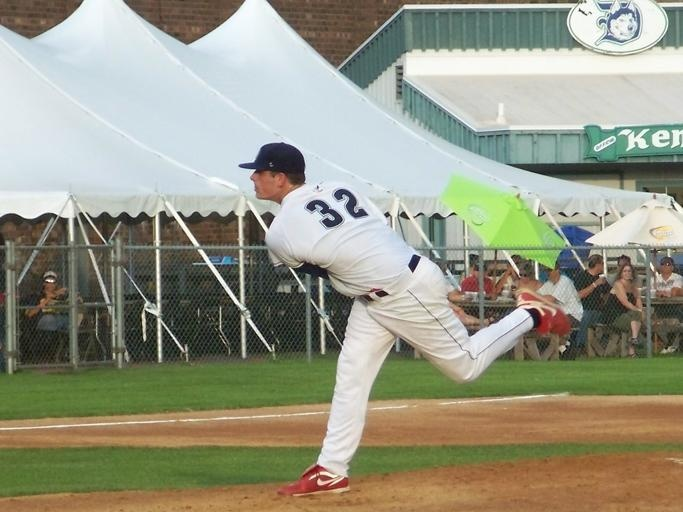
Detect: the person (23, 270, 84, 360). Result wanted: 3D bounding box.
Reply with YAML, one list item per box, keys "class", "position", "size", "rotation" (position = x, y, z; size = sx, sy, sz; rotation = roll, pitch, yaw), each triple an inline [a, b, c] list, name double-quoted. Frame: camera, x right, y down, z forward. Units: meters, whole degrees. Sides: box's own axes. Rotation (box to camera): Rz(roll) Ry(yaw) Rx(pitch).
- class: "person"
  position: [-4.917, 0.999, 33.018]
  size: [0.926, 1.541, 0.635]
  rotation: [-3, -4, 42]

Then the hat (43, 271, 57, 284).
- class: "hat"
  position: [-5.010, 0.383, 33.008]
  size: [0.170, 0.211, 0.224]
  rotation: [0, -22, -10]

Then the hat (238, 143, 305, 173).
- class: "hat"
  position: [-0.912, -1.348, 26.923]
  size: [0.649, 0.363, 0.440]
  rotation: [0, 1, 1]

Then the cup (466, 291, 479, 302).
- class: "cup"
  position: [2.255, 0.742, 34.017]
  size: [0.169, 0.179, 0.174]
  rotation: [1, -3, 0]
